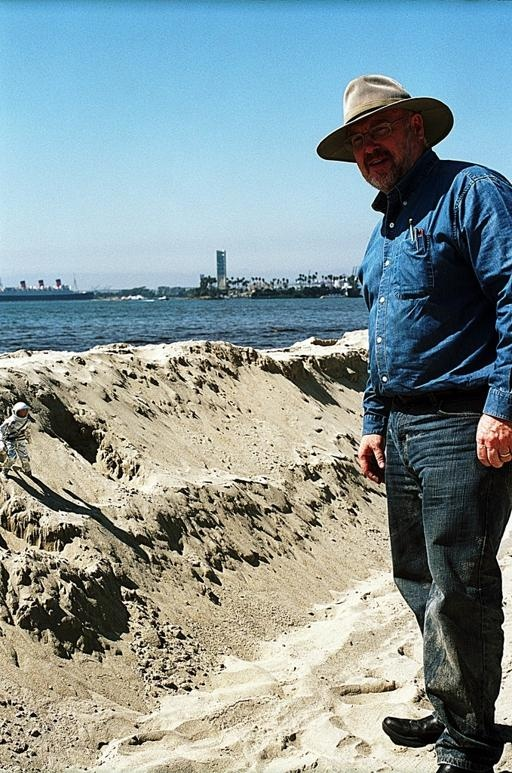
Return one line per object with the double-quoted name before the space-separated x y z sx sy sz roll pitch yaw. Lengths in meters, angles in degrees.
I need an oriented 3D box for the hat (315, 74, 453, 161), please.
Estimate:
"hat" 0.504 -1.107 3.480 0.542 0.238 0.460 -11 -7 7
